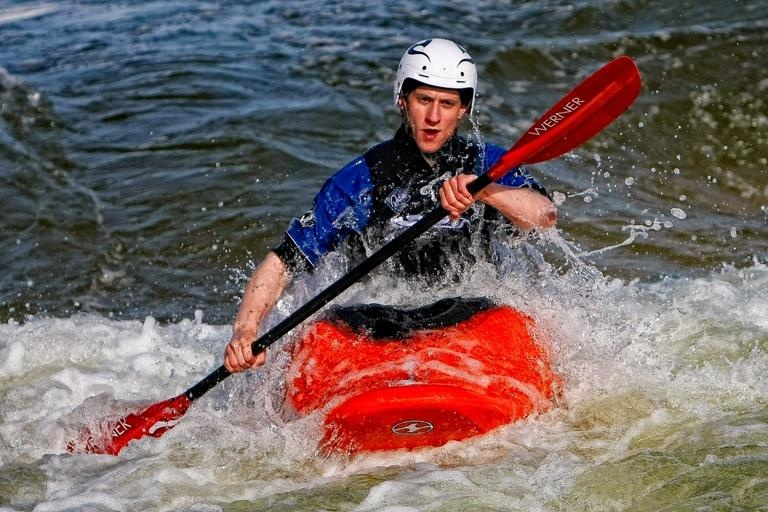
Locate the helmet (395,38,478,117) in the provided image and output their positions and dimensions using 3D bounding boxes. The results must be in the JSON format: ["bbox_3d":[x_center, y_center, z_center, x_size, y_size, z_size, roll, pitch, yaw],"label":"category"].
[{"bbox_3d":[0.407,-1.429,8.953,0.504,0.384,0.492,8,36,-6],"label":"helmet"}]

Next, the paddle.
[{"bbox_3d":[-0.266,0.071,9.672,5.721,0.383,0.604,-37,56,18],"label":"paddle"}]
